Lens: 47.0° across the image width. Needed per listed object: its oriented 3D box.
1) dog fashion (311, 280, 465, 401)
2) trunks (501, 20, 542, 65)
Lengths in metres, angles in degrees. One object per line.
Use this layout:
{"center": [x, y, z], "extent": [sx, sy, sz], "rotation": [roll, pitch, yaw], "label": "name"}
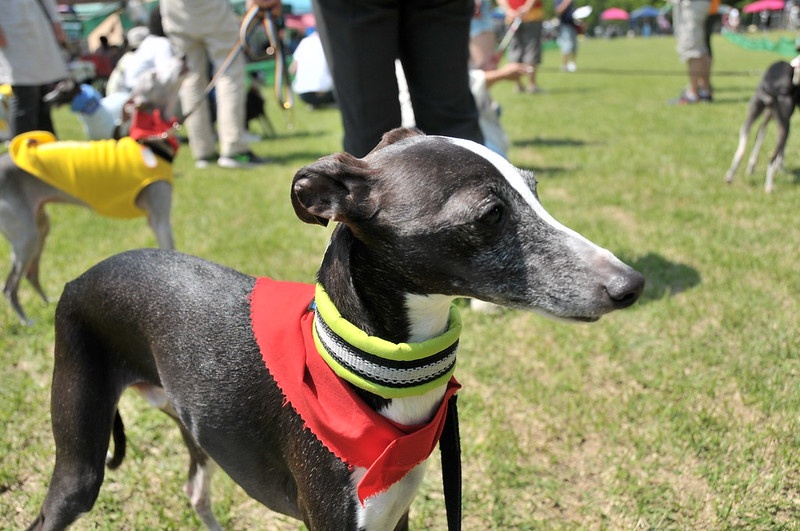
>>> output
{"center": [-0.057, 0.363, 4.312], "extent": [0.577, 0.226, 0.507], "rotation": [4, 26, -34], "label": "dog fashion"}
{"center": [1.499, -2.802, 11.236], "extent": [0.374, 0.847, 0.263], "rotation": [7, 60, 17], "label": "trunks"}
